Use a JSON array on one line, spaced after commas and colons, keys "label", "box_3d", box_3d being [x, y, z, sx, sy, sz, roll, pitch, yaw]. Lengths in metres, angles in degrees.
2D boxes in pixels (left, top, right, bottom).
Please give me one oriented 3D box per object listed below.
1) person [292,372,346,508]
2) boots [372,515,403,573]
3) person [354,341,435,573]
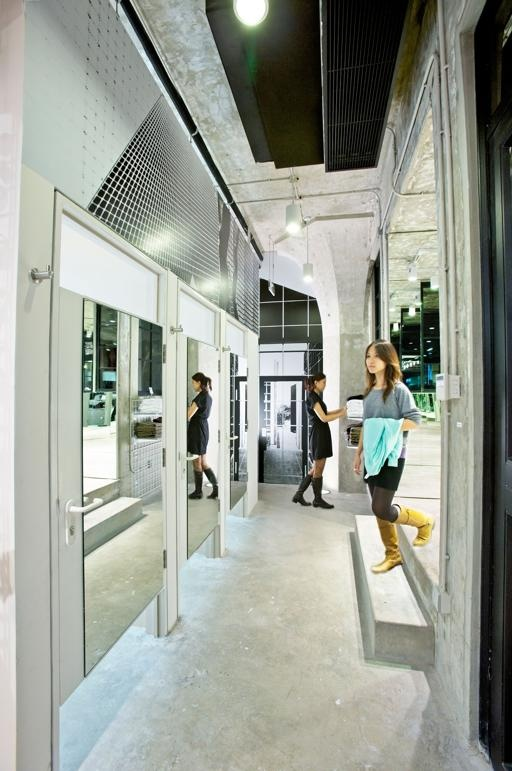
[{"label": "person", "box_3d": [0.659, 0.624, 5.301, 0.530, 1.514, 1.535, 0, 0, 5]}, {"label": "boots", "box_3d": [0.806, 0.969, 2.971, 0.177, 0.385, 0.087, -12, 17, -3]}, {"label": "person", "box_3d": [0.826, 0.441, 2.886, 0.452, 1.421, 0.545, 0, 0, 14]}]
